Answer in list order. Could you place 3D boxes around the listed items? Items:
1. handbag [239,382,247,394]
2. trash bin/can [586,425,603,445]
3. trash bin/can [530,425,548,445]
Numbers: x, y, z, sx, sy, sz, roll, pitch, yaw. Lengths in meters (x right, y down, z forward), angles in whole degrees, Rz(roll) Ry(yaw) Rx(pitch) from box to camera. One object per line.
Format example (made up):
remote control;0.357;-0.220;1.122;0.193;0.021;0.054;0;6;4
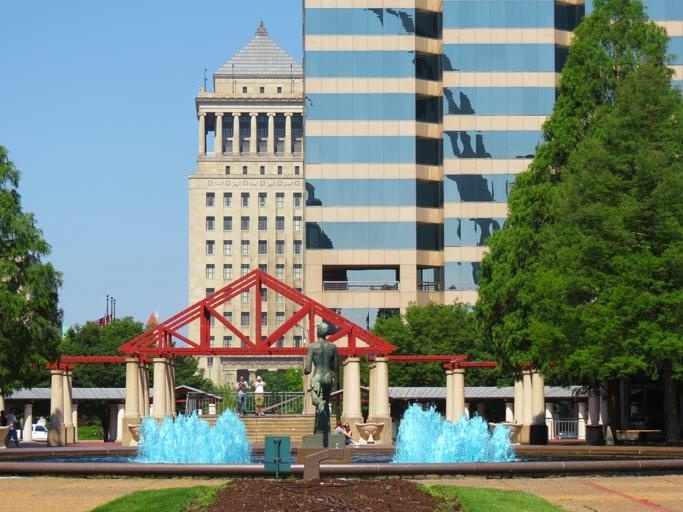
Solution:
handbag;-5.394;7.444;105.410;0.266;0.587;0.421;6;-11;-21
trash bin/can;12.387;8.798;92.163;0.796;0.833;0.837;0;-8;4
trash bin/can;10.112;9.132;96.176;0.855;0.982;0.920;0;-9;5
